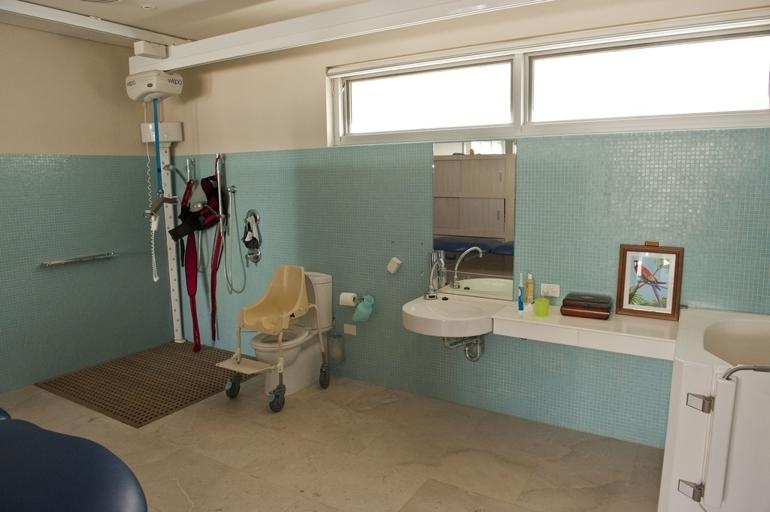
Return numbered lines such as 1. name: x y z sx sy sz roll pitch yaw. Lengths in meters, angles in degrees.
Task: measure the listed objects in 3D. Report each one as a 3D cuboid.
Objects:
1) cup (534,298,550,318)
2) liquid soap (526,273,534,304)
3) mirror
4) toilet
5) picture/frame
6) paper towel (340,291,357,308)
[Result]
1. cup: 1.170 0.389 4.012 0.123 0.139 0.125 0 4 0
2. liquid soap: 1.157 0.247 4.214 0.067 0.207 0.221 3 12 15
3. mirror: 0.661 -0.340 4.472 0.787 1.158 0.027 3 -18 5
4. toilet: -0.862 0.712 4.904 0.399 1.026 0.886 7 14 33
5. picture/frame: 1.968 0.196 3.896 0.566 0.775 0.082 1 -3 30
6. paper towel: -0.332 0.397 4.981 0.164 0.116 0.127 -1 4 28
